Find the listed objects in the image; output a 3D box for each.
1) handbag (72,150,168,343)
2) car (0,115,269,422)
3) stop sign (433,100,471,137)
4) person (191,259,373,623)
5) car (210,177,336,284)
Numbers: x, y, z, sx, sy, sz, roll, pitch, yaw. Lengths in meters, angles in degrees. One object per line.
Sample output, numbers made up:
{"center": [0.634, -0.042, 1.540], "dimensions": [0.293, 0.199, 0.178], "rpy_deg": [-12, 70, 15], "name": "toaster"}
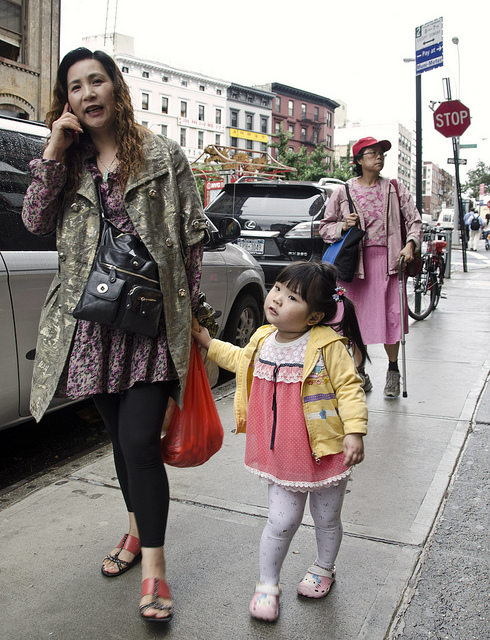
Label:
{"center": [-0.391, -0.220, 1.515], "dimensions": [0.282, 0.599, 0.252], "rpy_deg": [-1, 5, 19], "name": "handbag"}
{"center": [-0.753, -0.481, 3.727], "dimensions": [1.218, 1.206, 2.139], "rpy_deg": [6, 11, 42], "name": "car"}
{"center": [4.602, -4.464, 11.449], "dimensions": [0.732, 0.769, 0.393], "rpy_deg": [0, 5, 23], "name": "stop sign"}
{"center": [0.138, 0.356, 1.675], "dimensions": [0.503, 1.073, 0.532], "rpy_deg": [-1, 5, 13], "name": "person"}
{"center": [0.321, -1.137, 6.566], "dimensions": [1.218, 1.108, 2.082], "rpy_deg": [3, 14, 20], "name": "car"}
